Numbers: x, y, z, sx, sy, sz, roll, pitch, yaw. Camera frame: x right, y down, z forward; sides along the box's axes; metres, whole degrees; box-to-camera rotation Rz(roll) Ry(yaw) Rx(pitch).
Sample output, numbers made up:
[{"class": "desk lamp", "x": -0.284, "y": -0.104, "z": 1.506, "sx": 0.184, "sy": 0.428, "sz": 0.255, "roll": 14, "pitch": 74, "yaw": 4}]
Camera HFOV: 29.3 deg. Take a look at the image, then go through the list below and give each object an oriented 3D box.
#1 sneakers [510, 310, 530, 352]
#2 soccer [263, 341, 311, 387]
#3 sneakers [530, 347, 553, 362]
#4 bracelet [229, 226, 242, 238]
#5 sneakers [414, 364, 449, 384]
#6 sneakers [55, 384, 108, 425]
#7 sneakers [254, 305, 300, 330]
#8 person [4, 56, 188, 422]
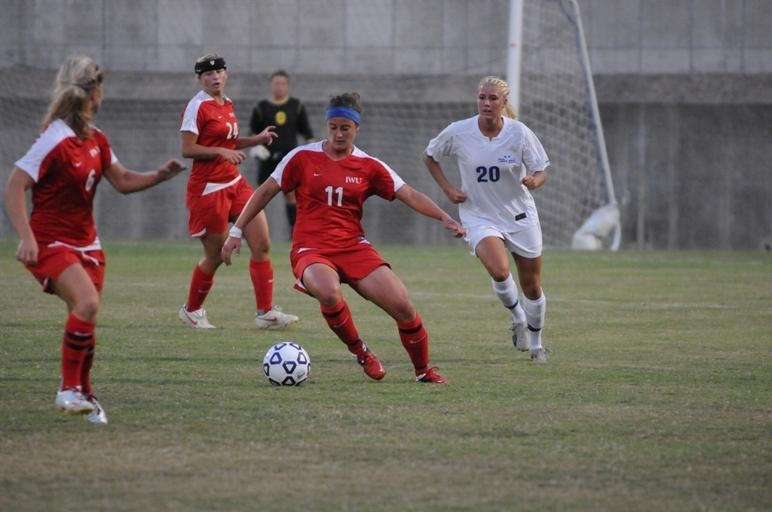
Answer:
[{"class": "sneakers", "x": 1.108, "y": 0.655, "z": 12.607, "sx": 0.164, "sy": 0.243, "sz": 0.101, "roll": -8, "pitch": 1, "yaw": -43}, {"class": "soccer", "x": -0.772, "y": 0.881, "z": 11.676, "sx": 0.374, "sy": 0.329, "sz": 0.357, "roll": 2, "pitch": -1, "yaw": -32}, {"class": "sneakers", "x": 1.277, "y": 0.817, "z": 12.312, "sx": 0.073, "sy": 0.124, "sz": 0.238, "roll": -6, "pitch": -4, "yaw": -5}, {"class": "bracelet", "x": -1.234, "y": -0.204, "z": 12.136, "sx": 0.121, "sy": 0.102, "sz": 0.102, "roll": 1, "pitch": 4, "yaw": -13}, {"class": "sneakers", "x": 0.360, "y": 0.944, "z": 11.663, "sx": 0.306, "sy": 0.115, "sz": 0.101, "roll": 1, "pitch": 1, "yaw": 10}, {"class": "sneakers", "x": -2.207, "y": 1.098, "z": 10.869, "sx": 0.326, "sy": 0.149, "sz": 0.243, "roll": 28, "pitch": -1, "yaw": 20}, {"class": "sneakers", "x": -1.017, "y": 0.549, "z": 13.419, "sx": 0.454, "sy": 0.198, "sz": 0.155, "roll": -3, "pitch": 22, "yaw": -10}, {"class": "person", "x": -2.271, "y": -0.153, "z": 10.981, "sx": 1.037, "sy": 2.657, "sz": 0.554, "roll": 0, "pitch": 4, "yaw": -13}]
